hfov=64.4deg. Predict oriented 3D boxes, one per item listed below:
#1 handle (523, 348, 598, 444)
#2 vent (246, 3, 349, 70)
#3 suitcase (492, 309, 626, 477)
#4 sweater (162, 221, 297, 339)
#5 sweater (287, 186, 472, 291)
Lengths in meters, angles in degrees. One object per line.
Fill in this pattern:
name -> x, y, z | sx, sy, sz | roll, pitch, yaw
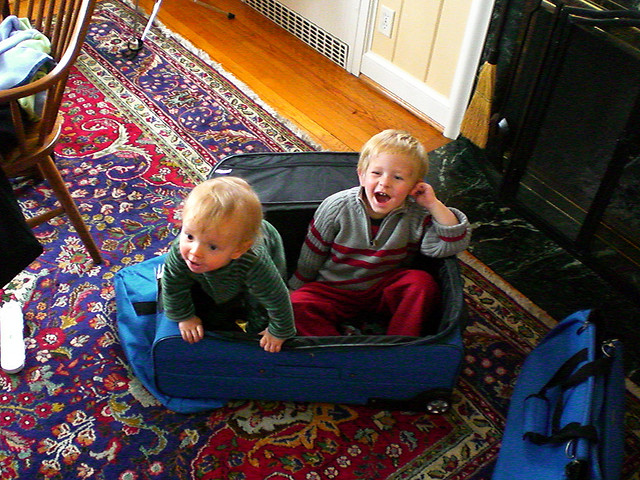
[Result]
handle -> 0.625, 0.473, 1.422 | 0.136, 0.288, 0.171 | 20, 53, -20
vent -> -0.125, -1.282, 3.134 | 0.037, 0.269, 0.881 | -31, 47, -29
suitcase -> 0.710, 0.460, 1.438 | 0.245, 0.388, 0.526 | 22, 42, 14
sweater -> -0.265, 0.129, 1.453 | 0.442, 0.249, 0.234 | 16, 50, 7
sweater -> 0.243, 0.035, 1.719 | 0.702, 0.371, 0.274 | 6, 15, 34
